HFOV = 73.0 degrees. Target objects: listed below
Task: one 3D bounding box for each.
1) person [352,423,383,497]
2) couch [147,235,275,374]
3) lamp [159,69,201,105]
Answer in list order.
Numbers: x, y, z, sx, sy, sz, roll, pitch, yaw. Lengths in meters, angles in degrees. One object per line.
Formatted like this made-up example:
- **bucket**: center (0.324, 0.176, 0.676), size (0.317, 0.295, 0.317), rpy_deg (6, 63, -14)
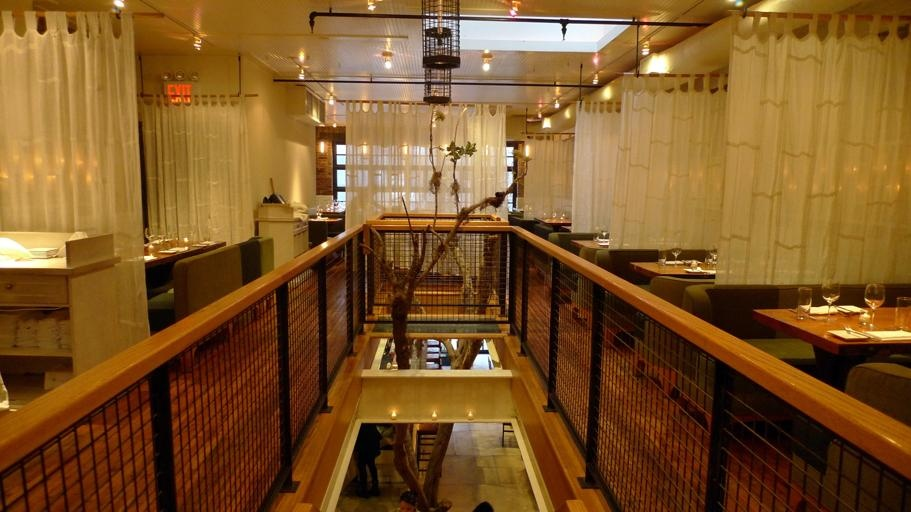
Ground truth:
- **person**: center (-1.602, 3.651, 11.143), size (0.484, 1.686, 1.229), rpy_deg (3, 5, -6)
- **couch**: center (-2.503, 0.495, 6.196), size (0.484, 0.579, 1.537), rpy_deg (4, 9, 10)
- **lamp**: center (-4.687, -2.833, 10.337), size (0.761, 0.682, 0.380), rpy_deg (-1, 4, -6)
